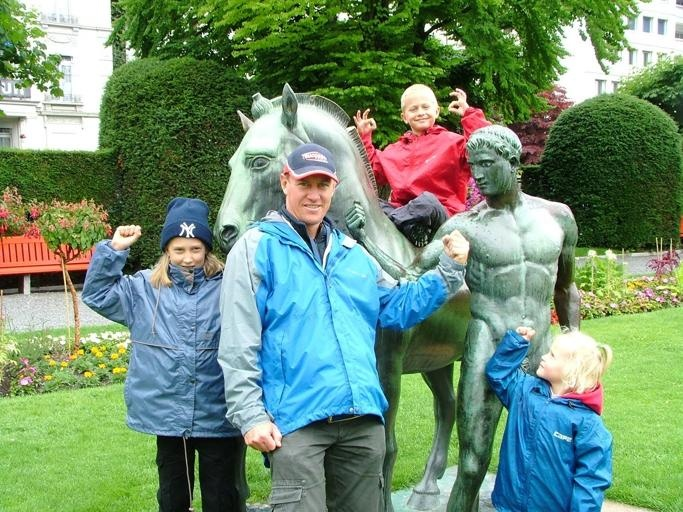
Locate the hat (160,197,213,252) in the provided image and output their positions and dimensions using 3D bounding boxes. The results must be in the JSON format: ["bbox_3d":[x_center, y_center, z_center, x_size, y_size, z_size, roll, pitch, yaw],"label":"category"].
[{"bbox_3d":[-1.150,-0.239,5.337,0.348,0.391,0.384,3,4,-14],"label":"hat"}]

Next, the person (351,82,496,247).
[{"bbox_3d":[0.609,-0.772,6.159,1.156,1.457,0.797,4,-9,14],"label":"person"}]
